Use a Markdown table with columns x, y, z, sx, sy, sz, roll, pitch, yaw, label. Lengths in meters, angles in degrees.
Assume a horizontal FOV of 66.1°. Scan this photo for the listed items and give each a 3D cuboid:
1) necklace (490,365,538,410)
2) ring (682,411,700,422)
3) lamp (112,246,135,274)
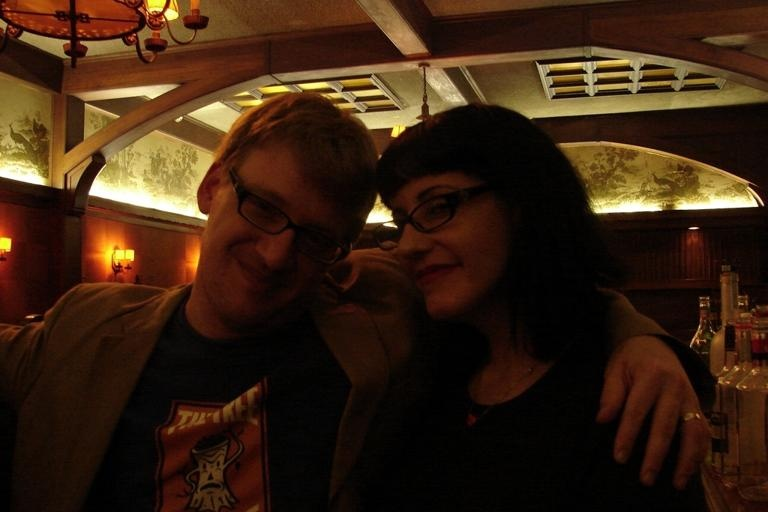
| x | y | z | sx | sy | sz | roll | pitch | yaw | label |
| --- | --- | --- | --- | --- | --- | --- | --- | --- | --- |
| 0.315 | 0.318 | 1.445 | 0.114 | 0.086 | 0.023 | -27 | -51 | 13 | necklace |
| 0.655 | 0.340 | 1.252 | 0.042 | 0.018 | 0.013 | -1 | 2 | -10 | ring |
| -3.594 | 0.053 | 8.086 | 0.242 | 0.410 | 0.381 | -2 | -4 | 10 | lamp |
